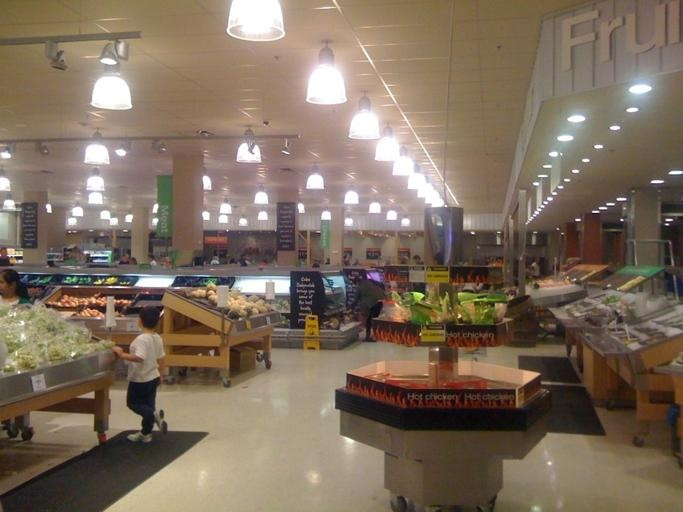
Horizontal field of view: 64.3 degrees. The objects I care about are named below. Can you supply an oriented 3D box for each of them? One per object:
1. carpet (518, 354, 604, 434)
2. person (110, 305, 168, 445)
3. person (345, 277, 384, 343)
[{"bbox_3d":[3.192,1.938,8.028,0.847,0.135,3.951,1,3,17],"label":"carpet"},{"bbox_3d":[-2.157,1.289,6.048,0.583,1.461,0.550,12,5,22],"label":"person"},{"bbox_3d":[0.547,1.115,11.675,0.831,1.453,0.622,-12,-10,41],"label":"person"}]
